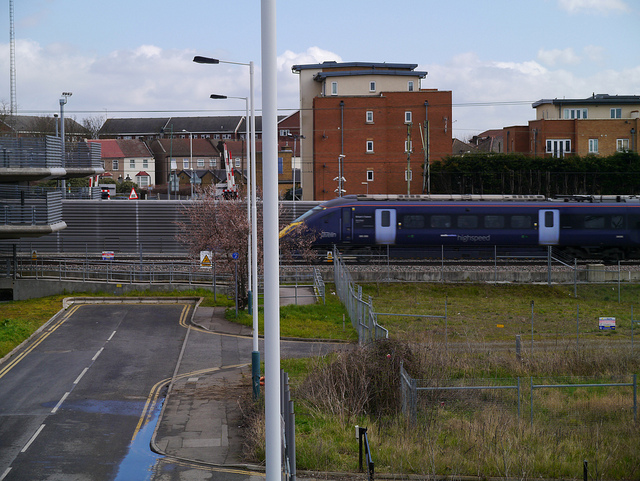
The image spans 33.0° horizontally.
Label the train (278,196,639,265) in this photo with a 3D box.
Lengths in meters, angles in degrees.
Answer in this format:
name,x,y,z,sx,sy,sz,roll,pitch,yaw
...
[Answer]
name,x,y,z,sx,sy,sz,roll,pitch,yaw
train,9.095,-0.038,67.164,24.727,5.086,3.876,1,0,1
